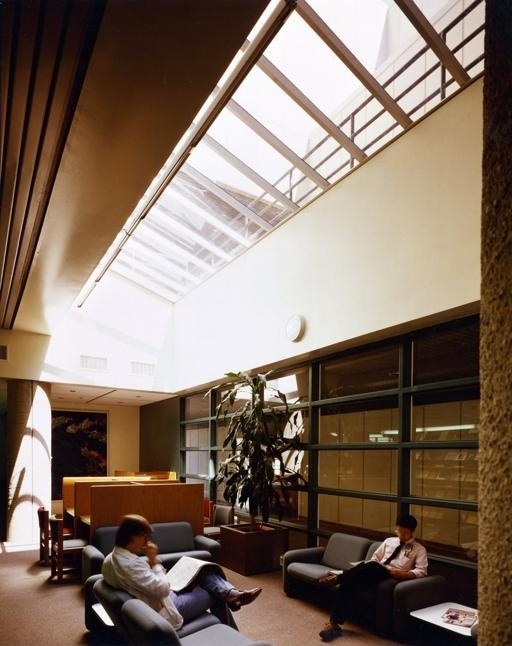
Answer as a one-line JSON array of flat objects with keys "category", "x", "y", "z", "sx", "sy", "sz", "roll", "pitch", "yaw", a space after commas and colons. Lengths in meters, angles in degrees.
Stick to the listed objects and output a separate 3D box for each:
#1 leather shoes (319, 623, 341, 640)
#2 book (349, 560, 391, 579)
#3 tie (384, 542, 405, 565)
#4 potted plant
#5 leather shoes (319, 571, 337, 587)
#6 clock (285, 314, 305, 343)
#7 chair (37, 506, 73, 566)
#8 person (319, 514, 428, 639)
[{"category": "leather shoes", "x": 0.607, "y": 2.525, "z": 3.968, "sx": 0.074, "sy": 0.106, "sz": 0.219, "roll": -15, "pitch": -25, "yaw": 41}, {"category": "book", "x": 0.939, "y": 2.087, "z": 4.054, "sx": 0.221, "sy": 0.112, "sz": 0.181, "roll": 1, "pitch": -12, "yaw": -19}, {"category": "tie", "x": 1.228, "y": 2.036, "z": 4.262, "sx": 0.221, "sy": 0.046, "sz": 0.024, "roll": -49, "pitch": -12, "yaw": -6}, {"category": "potted plant", "x": -0.050, "y": 1.915, "z": 6.257, "sx": 0.975, "sy": 2.565, "sz": 1.149, "roll": 5, "pitch": -20, "yaw": 1}, {"category": "leather shoes", "x": 0.661, "y": 2.280, "z": 4.301, "sx": 0.102, "sy": 0.055, "sz": 0.134, "roll": -9, "pitch": -15, "yaw": 43}, {"category": "clock", "x": 0.502, "y": 0.084, "z": 6.092, "sx": 0.065, "sy": 0.341, "sz": 0.402, "roll": 6, "pitch": -16, "yaw": -24}, {"category": "chair", "x": -2.692, "y": 2.783, "z": 6.398, "sx": 0.349, "sy": 0.652, "sz": 0.334, "roll": 2, "pitch": -11, "yaw": -35}, {"category": "person", "x": 1.012, "y": 2.150, "z": 4.149, "sx": 0.880, "sy": 0.916, "sz": 0.591, "roll": -2, "pitch": -14, "yaw": 9}]
